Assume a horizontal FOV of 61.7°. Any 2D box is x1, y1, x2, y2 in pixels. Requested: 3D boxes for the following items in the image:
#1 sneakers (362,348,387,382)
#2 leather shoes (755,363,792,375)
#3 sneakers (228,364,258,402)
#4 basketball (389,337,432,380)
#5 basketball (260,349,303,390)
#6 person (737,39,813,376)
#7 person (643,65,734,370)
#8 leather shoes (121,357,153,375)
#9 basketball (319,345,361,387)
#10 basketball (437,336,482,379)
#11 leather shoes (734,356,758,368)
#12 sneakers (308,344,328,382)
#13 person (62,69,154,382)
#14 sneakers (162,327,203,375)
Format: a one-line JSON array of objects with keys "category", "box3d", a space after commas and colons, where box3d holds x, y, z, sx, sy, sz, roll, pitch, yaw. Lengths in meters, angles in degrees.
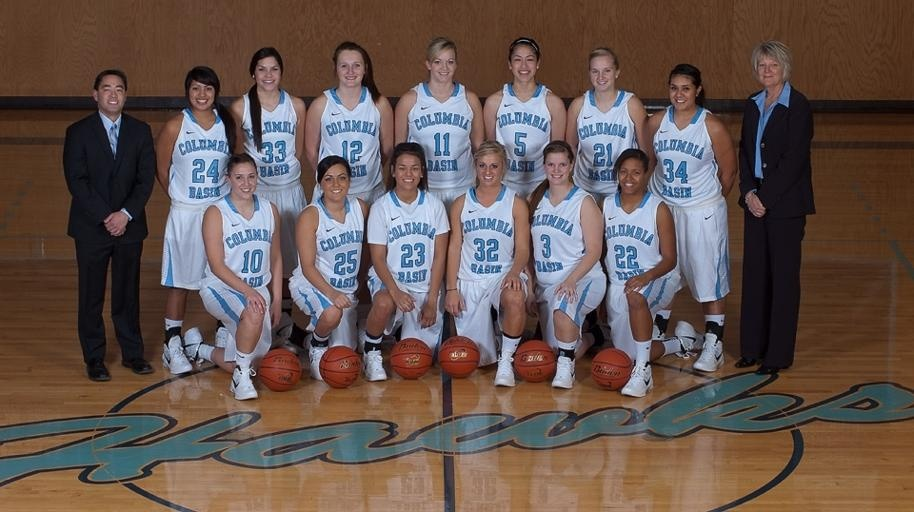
[{"category": "sneakers", "box3d": [-0.746, 1.019, 6.955, 0.150, 0.147, 0.333, -2, 10, -14]}, {"category": "leather shoes", "box3d": [2.945, 1.044, 7.079, 0.330, 0.127, 0.115, 3, 10, -5]}, {"category": "sneakers", "box3d": [-1.860, 1.131, 6.656, 0.159, 0.169, 0.388, 0, 2, -23]}, {"category": "basketball", "box3d": [-0.417, 0.916, 6.926, 0.392, 0.344, 0.357, 0, 3, -3]}, {"category": "basketball", "box3d": [-1.653, 0.986, 6.835, 0.403, 0.305, 0.406, 3, -4, 41]}, {"category": "person", "box3d": [2.894, -0.413, 6.963, 0.665, 2.971, 0.508, -1, 1, 20]}, {"category": "person", "box3d": [2.259, -0.355, 7.281, 0.824, 2.849, 0.476, -1, 1, 13]}, {"category": "leather shoes", "box3d": [-2.992, 1.009, 7.133, 0.333, 0.114, 0.129, 8, 14, 36]}, {"category": "basketball", "box3d": [-1.112, 0.992, 6.886, 0.328, 0.307, 0.316, 3, 1, -14]}, {"category": "basketball", "box3d": [0.044, 0.883, 6.960, 0.381, 0.342, 0.350, 5, 8, 9]}, {"category": "leather shoes", "box3d": [2.715, 0.996, 7.146, 0.245, 0.096, 0.080, 1, 0, -19]}, {"category": "sneakers", "box3d": [-1.291, 0.971, 7.035, 0.133, 0.147, 0.360, -4, 16, -15]}, {"category": "person", "box3d": [-3.139, -0.257, 6.929, 0.704, 1.992, 0.434, -1, 1, 13]}, {"category": "sneakers", "box3d": [-2.571, 0.891, 7.144, 0.355, 0.279, 0.244, -2, 1, -20]}]
